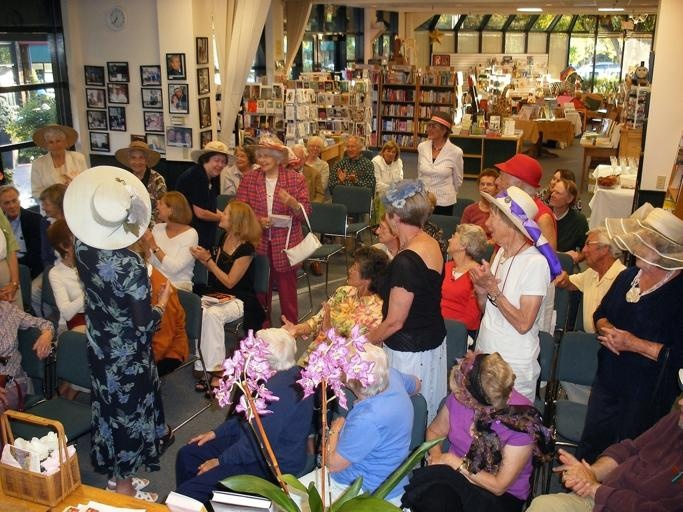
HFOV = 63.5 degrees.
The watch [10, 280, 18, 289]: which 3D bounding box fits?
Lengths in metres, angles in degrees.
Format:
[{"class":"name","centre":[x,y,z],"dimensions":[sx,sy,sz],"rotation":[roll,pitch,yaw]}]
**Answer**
[{"class":"watch","centre":[-3.095,0.275,5.295],"dimensions":[0.070,0.061,0.084],"rotation":[3,-13,7]}]

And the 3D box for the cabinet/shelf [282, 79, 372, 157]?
[{"class":"cabinet/shelf","centre":[-0.166,-3.552,13.343],"dimensions":[1.915,1.645,1.125],"rotation":[-1,18,-7]}]

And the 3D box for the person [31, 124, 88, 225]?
[{"class":"person","centre":[-3.435,-0.807,6.897],"dimensions":[0.589,1.576,0.524],"rotation":[-9,9,-33]}]

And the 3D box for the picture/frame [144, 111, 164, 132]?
[{"class":"picture/frame","centre":[-2.817,-2.079,8.443],"dimensions":[0.254,0.315,0.021],"rotation":[5,15,12]}]

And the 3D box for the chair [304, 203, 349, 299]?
[{"class":"chair","centre":[-0.282,-0.088,7.483],"dimensions":[0.761,1.179,0.825],"rotation":[-7,17,-20]}]

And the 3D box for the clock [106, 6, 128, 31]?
[{"class":"clock","centre":[-3.299,-3.572,8.251],"dimensions":[0.244,0.327,0.044],"rotation":[15,18,19]}]

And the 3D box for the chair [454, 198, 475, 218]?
[{"class":"chair","centre":[1.679,-0.682,7.583],"dimensions":[0.233,0.359,0.276],"rotation":[5,11,21]}]

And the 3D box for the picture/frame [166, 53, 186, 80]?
[{"class":"picture/frame","centre":[-2.380,-2.804,8.091],"dimensions":[0.277,0.398,0.023],"rotation":[7,18,13]}]

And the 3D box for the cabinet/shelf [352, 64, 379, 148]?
[{"class":"cabinet/shelf","centre":[0.588,-3.786,13.570],"dimensions":[0.376,1.476,0.824],"rotation":[7,-18,9]}]

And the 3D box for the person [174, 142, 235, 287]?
[{"class":"person","centre":[-1.579,-0.316,6.595],"dimensions":[0.661,2.069,0.751],"rotation":[2,4,11]}]

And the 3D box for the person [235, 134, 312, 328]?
[{"class":"person","centre":[-0.716,-0.110,6.084],"dimensions":[0.688,2.438,0.768],"rotation":[8,23,15]}]

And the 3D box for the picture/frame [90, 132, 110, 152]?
[{"class":"picture/frame","centre":[-3.774,-1.834,8.770],"dimensions":[0.243,0.261,0.020],"rotation":[5,13,20]}]

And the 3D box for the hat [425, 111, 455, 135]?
[{"class":"hat","centre":[1.325,-1.884,7.604],"dimensions":[0.277,0.168,0.331],"rotation":[7,16,-37]}]

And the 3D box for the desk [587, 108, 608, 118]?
[{"class":"desk","centre":[9.193,-5.142,19.841],"dimensions":[0.510,0.287,1.541],"rotation":[1,14,6]}]

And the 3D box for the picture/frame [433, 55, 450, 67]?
[{"class":"picture/frame","centre":[2.804,-5.523,15.602],"dimensions":[0.469,0.363,0.525],"rotation":[1,13,7]}]

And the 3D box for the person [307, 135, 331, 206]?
[{"class":"person","centre":[-0.442,-1.419,8.845],"dimensions":[0.391,1.009,0.449],"rotation":[20,32,19]}]

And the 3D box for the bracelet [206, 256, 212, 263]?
[{"class":"bracelet","centre":[-1.223,0.032,5.181],"dimensions":[0.033,0.056,0.017],"rotation":[2,-11,5]}]

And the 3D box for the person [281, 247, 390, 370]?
[{"class":"person","centre":[-0.019,0.650,4.341],"dimensions":[0.791,1.363,0.456],"rotation":[-4,16,-36]}]

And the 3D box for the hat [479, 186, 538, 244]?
[{"class":"hat","centre":[1.116,-0.291,3.644],"dimensions":[0.311,0.311,0.363],"rotation":[4,13,18]}]

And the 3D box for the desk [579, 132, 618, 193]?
[{"class":"desk","centre":[6.019,-2.279,13.034],"dimensions":[0.616,0.977,1.818],"rotation":[6,18,26]}]

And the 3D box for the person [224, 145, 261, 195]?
[{"class":"person","centre":[-1.379,-1.141,7.704],"dimensions":[0.517,0.828,0.528],"rotation":[-10,13,-21]}]

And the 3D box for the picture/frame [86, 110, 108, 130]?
[{"class":"picture/frame","centre":[-3.793,-2.169,8.709],"dimensions":[0.242,0.297,0.019],"rotation":[6,19,16]}]

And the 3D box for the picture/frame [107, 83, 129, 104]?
[{"class":"picture/frame","centre":[-3.388,-2.533,8.530],"dimensions":[0.249,0.263,0.022],"rotation":[7,12,21]}]

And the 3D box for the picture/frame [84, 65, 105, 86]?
[{"class":"picture/frame","centre":[-3.761,-2.818,8.549],"dimensions":[0.244,0.295,0.020],"rotation":[8,23,-5]}]

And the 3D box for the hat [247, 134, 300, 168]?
[{"class":"hat","centre":[-0.717,-1.186,6.116],"dimensions":[0.602,0.256,0.681],"rotation":[8,4,-14]}]

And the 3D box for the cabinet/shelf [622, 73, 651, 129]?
[{"class":"cabinet/shelf","centre":[6.135,-3.099,11.555],"dimensions":[0.300,0.996,0.947],"rotation":[13,12,21]}]

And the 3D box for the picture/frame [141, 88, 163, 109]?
[{"class":"picture/frame","centre":[-2.822,-2.408,8.376],"dimensions":[0.253,0.258,0.021],"rotation":[9,22,24]}]

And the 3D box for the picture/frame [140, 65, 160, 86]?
[{"class":"picture/frame","centre":[-2.826,-2.735,8.308],"dimensions":[0.254,0.267,0.024],"rotation":[3,7,23]}]

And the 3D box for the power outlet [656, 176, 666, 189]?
[{"class":"power outlet","centre":[4.294,-0.994,7.464],"dimensions":[0.121,0.177,0.056],"rotation":[5,13,23]}]

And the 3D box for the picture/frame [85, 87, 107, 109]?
[{"class":"picture/frame","centre":[-3.778,-2.494,8.636],"dimensions":[0.262,0.323,0.023],"rotation":[6,21,15]}]

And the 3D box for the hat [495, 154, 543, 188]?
[{"class":"hat","centre":[1.576,-0.764,4.904],"dimensions":[0.445,0.265,0.346],"rotation":[16,14,4]}]
